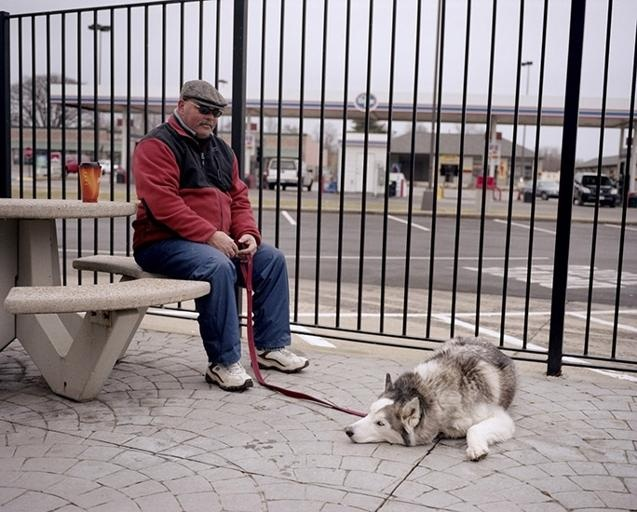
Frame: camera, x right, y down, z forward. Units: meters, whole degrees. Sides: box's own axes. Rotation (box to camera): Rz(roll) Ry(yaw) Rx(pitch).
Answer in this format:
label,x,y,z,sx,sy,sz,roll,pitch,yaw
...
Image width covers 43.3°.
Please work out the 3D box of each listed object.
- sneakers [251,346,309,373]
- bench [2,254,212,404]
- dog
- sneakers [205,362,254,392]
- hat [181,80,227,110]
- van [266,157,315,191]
label,x,y,z,sx,sy,sz,roll,pitch,yaw
sneakers,-0.293,0.773,6.050,0.409,0.223,0.170,2,10,12
bench,-1.502,0.548,5.256,1.207,0.844,1.190,11,17,32
dog,0.845,0.895,5.273,1.033,0.549,1.448,-2,8,39
sneakers,-0.624,0.838,5.630,0.354,0.188,0.145,0,6,33
hat,-0.826,-1.148,5.705,0.239,0.135,0.209,6,12,2
van,-1.099,-2.841,28.349,1.663,1.266,3.022,2,13,14
